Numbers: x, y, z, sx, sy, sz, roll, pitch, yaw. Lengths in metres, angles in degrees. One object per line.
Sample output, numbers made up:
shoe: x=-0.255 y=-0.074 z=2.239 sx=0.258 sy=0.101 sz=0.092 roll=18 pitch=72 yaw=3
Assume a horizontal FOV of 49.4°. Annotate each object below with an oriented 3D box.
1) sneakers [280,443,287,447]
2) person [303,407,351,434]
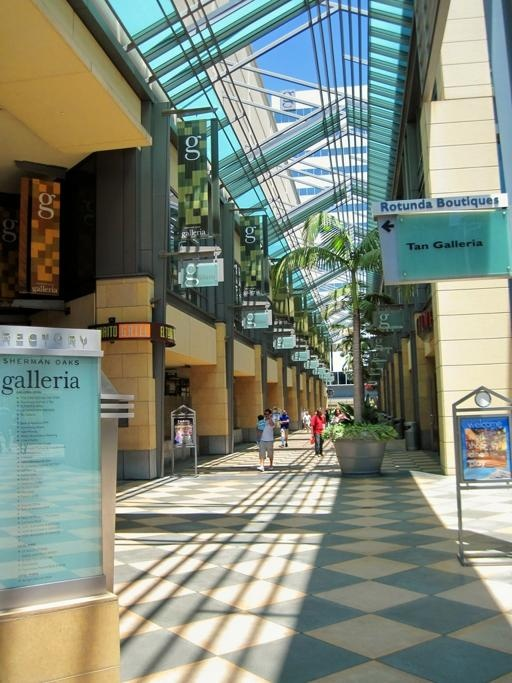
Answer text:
sneakers: x=1.169 y=4.264 z=23.121 sx=0.143 sy=0.261 sz=0.402 roll=7 pitch=-16 yaw=-22
person: x=2.217 y=2.340 z=16.527 sx=1.512 sy=0.701 sz=1.478 roll=3 pitch=-9 yaw=-42
